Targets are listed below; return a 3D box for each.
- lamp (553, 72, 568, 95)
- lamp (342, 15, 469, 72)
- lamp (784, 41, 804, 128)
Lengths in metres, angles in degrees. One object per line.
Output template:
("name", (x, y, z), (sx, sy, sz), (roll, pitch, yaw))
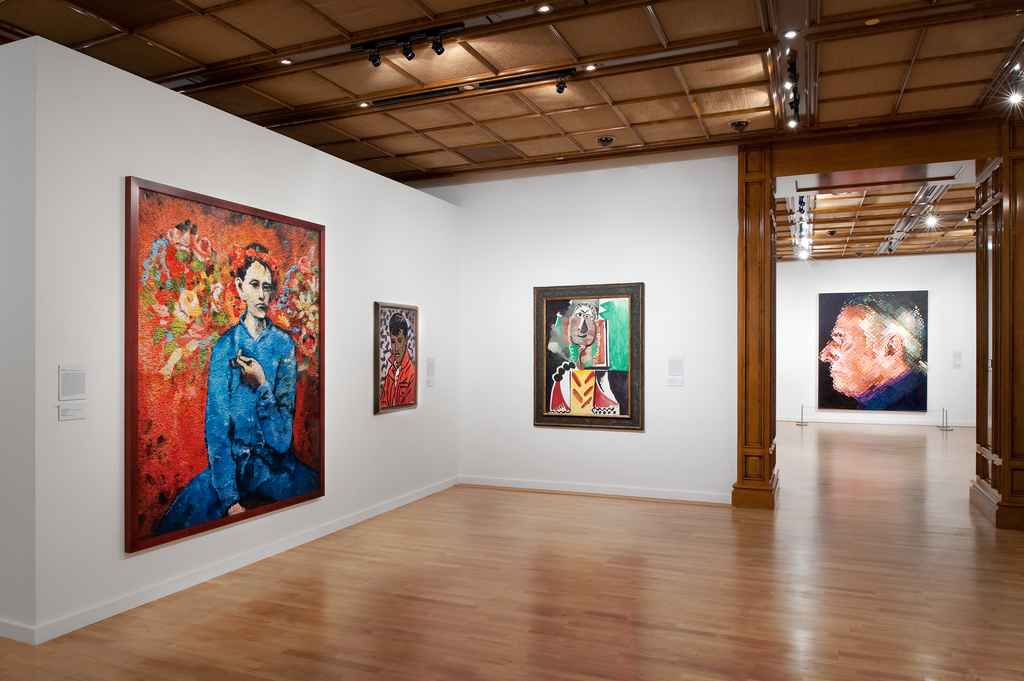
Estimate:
("lamp", (0.591, -3.045, 8.110), (0.164, 0.157, 0.257), (0, 6, 3))
("lamp", (-1.089, -3.201, 7.420), (1.245, 0.319, 0.381), (2, 6, 15))
("lamp", (3.257, -2.999, 7.916), (0.266, 1.114, 0.272), (-2, 12, 20))
